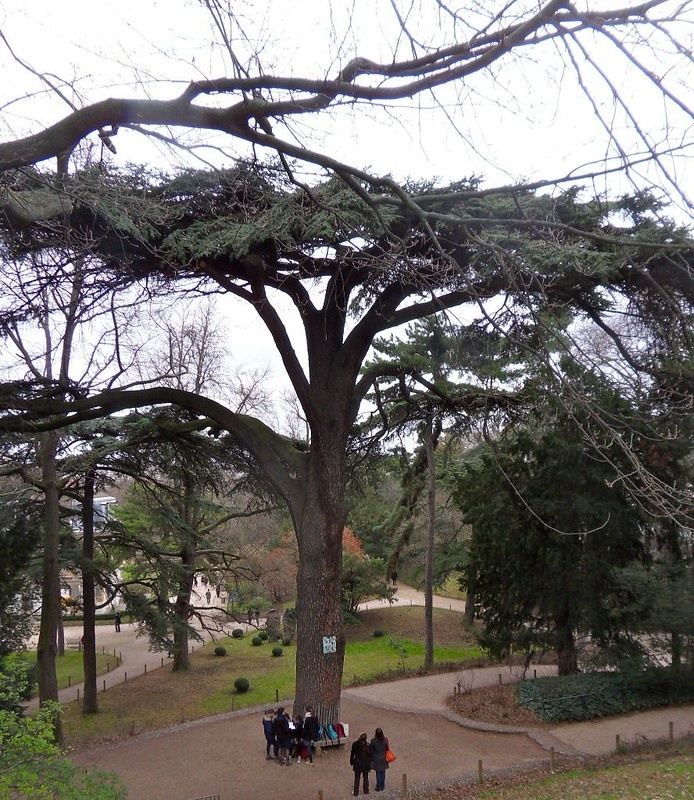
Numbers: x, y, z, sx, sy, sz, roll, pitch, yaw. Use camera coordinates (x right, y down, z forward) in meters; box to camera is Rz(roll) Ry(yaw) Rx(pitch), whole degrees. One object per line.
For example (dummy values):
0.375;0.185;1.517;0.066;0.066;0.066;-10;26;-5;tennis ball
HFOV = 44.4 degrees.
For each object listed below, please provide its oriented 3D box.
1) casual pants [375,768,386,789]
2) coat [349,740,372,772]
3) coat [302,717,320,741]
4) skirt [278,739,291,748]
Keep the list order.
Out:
0.565;6.342;14.736;0.159;0.351;0.361;0;-13;-6;casual pants
0.237;5.887;14.620;0.353;0.530;0.195;1;-13;-12;coat
-0.669;5.885;15.776;0.308;0.457;0.382;-1;-12;-3;coat
-1.199;6.321;16.228;0.152;0.196;0.113;1;-13;18;skirt
